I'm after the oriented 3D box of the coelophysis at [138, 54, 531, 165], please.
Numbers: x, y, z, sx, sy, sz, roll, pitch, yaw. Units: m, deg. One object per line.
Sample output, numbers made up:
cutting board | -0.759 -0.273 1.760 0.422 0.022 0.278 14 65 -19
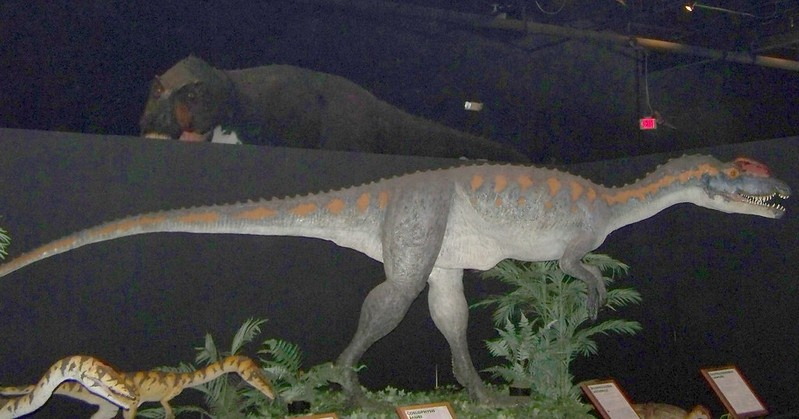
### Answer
coelophysis | -0.562 -0.885 8.638 3.910 1.027 1.270 6 -71 -5
